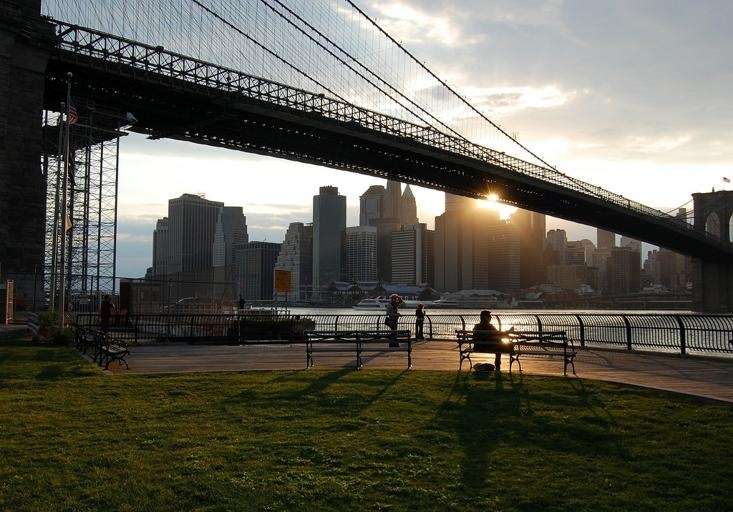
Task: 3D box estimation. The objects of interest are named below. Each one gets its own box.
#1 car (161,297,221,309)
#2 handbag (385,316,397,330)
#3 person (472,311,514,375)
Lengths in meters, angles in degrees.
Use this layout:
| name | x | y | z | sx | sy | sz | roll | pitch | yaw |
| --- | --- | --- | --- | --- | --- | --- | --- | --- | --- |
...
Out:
| name | x | y | z | sx | sy | sz | roll | pitch | yaw |
| --- | --- | --- | --- | --- | --- | --- | --- | --- | --- |
| car | -11.106 | 3.012 | 47.284 | 2.740 | 0.788 | 4.846 | 0 | -3 | -1 |
| handbag | 0.821 | 2.160 | 23.803 | 0.447 | 0.682 | 0.401 | 2 | -7 | -10 |
| person | 3.190 | 2.156 | 18.986 | 0.952 | 1.545 | 1.554 | -1 | -4 | 7 |
